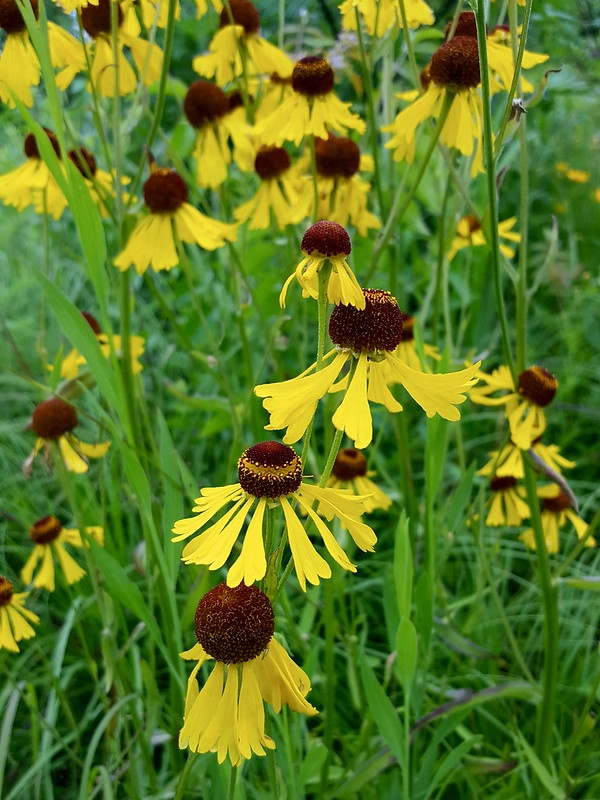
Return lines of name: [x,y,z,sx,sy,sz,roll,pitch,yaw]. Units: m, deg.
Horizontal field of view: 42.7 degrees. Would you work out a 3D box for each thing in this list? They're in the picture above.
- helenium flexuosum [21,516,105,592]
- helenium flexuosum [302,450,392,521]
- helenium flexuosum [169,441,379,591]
helenium flexuosum: [-0.337,0.193,1.051,0.111,0.067,0.126,-20,22,-17]
helenium flexuosum: [0.102,0.161,1.483,0.119,0.061,0.118,13,4,-37]
helenium flexuosum: [-0.038,0.111,0.737,0.153,0.080,0.161,19,35,31]
